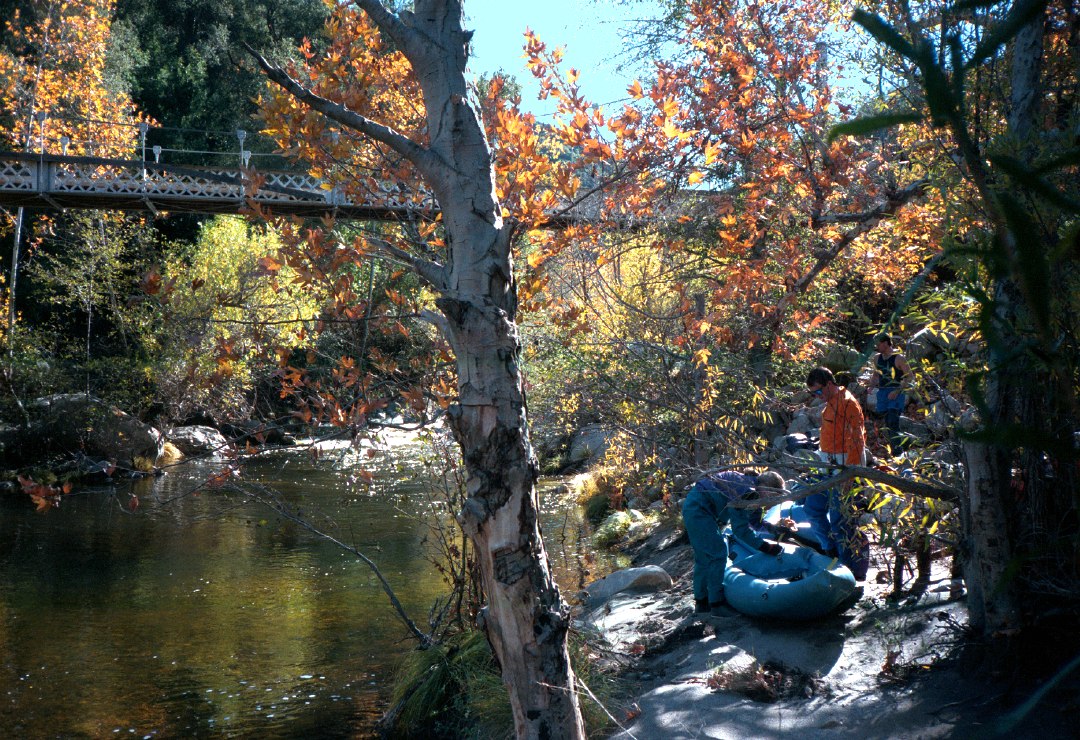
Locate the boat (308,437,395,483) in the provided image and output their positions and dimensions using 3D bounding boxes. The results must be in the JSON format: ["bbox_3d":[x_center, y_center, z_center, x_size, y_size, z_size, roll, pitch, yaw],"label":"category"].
[{"bbox_3d":[-3.183,1.578,17.278,1.134,0.564,1.113,6,-9,-42],"label":"boat"}]

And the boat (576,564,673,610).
[{"bbox_3d":[1.010,2.540,12.097,1.140,0.424,0.448,-1,-6,-9],"label":"boat"}]

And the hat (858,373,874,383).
[{"bbox_3d":[5.141,0.154,16.332,0.154,0.055,0.145,5,15,-41],"label":"hat"}]

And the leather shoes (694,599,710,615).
[{"bbox_3d":[1.734,2.538,11.031,0.116,0.125,0.122,-7,-13,21],"label":"leather shoes"}]
